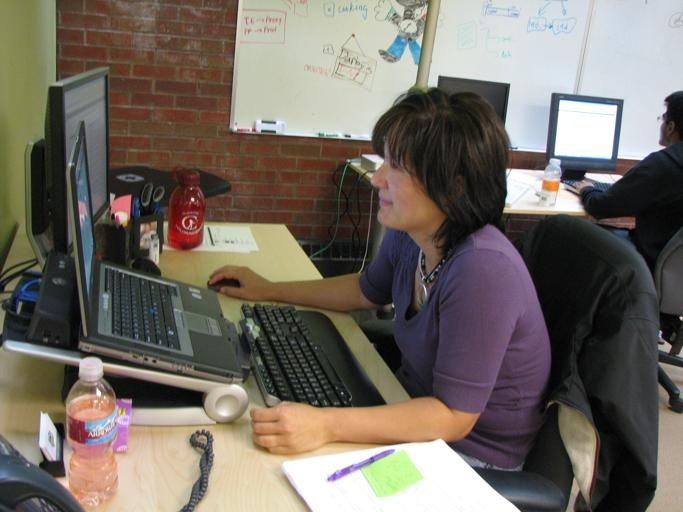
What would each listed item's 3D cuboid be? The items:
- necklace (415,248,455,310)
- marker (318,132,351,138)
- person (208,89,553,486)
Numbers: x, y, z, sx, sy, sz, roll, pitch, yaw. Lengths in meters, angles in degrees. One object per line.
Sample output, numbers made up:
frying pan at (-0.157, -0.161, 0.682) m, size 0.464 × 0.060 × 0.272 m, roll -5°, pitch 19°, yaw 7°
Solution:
necklace at (0.242, 0.061, 1.397) m, size 0.036 × 0.133 × 0.087 m, roll 26°, pitch -24°, yaw -34°
marker at (-0.065, -0.841, 3.653) m, size 0.162 × 0.033 × 0.035 m, roll 2°, pitch 21°, yaw -10°
person at (0.091, -0.083, 1.706) m, size 0.827 × 1.393 × 0.765 m, roll 0°, pitch 15°, yaw -7°
